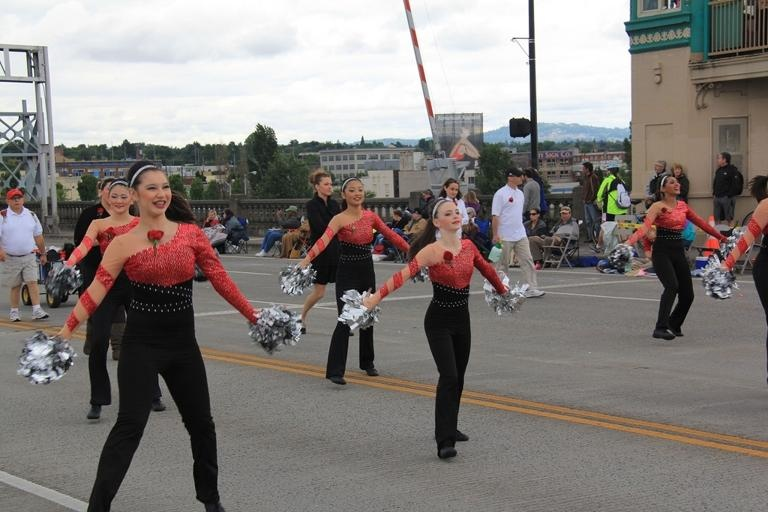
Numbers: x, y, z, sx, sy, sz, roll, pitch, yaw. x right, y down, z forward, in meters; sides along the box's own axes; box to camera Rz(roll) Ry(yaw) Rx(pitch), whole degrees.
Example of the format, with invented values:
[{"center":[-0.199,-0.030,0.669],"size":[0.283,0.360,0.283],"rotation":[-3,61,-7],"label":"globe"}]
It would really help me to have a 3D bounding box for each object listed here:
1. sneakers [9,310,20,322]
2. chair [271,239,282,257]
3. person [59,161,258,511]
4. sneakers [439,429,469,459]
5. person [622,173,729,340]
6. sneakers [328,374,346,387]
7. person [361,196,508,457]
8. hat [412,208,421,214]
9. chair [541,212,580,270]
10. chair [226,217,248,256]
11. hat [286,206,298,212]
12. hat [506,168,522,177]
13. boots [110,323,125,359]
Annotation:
[{"center":[-6.766,1.084,13.204],"size":[0.158,0.184,0.449],"rotation":[0,-3,-31],"label":"sneakers"},{"center":[-3.910,-0.238,25.837],"size":[0.535,0.640,0.417],"rotation":[-1,5,8],"label":"chair"},{"center":[-1.625,0.621,5.200],"size":[1.214,2.580,0.882],"rotation":[-7,9,-29],"label":"person"},{"center":[0.569,1.685,6.383],"size":[0.137,0.171,0.405],"rotation":[4,-25,-18],"label":"sneakers"},{"center":[4.234,0.014,10.683],"size":[1.065,2.370,0.546],"rotation":[-1,8,10],"label":"person"},{"center":[-0.566,1.447,8.503],"size":[0.224,0.129,0.177],"rotation":[-3,8,-2],"label":"sneakers"},{"center":[0.491,0.590,6.697],"size":[0.927,2.198,1.239],"rotation":[0,8,18],"label":"person"},{"center":[1.015,-1.364,21.943],"size":[0.258,0.177,0.254],"rotation":[-1,4,-24],"label":"hat"},{"center":[4.791,-0.560,19.862],"size":[0.905,1.529,0.862],"rotation":[-5,8,-35],"label":"chair"},{"center":[-5.624,-0.693,27.330],"size":[0.880,1.439,1.392],"rotation":[-1,6,13],"label":"chair"},{"center":[-3.350,-1.719,26.301],"size":[0.463,0.142,0.451],"rotation":[1,4,-9],"label":"hat"},{"center":[2.637,-1.706,14.819],"size":[0.285,0.281,0.230],"rotation":[10,12,13],"label":"hat"},{"center":[-3.483,1.069,9.390],"size":[0.126,0.358,0.111],"rotation":[21,25,36],"label":"boots"}]
